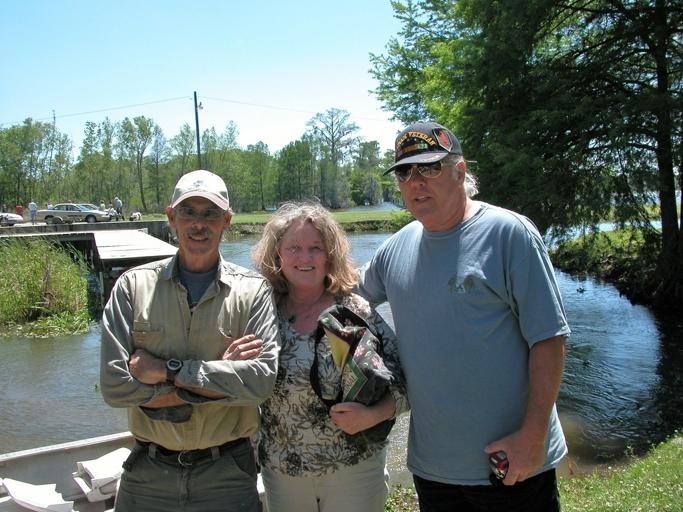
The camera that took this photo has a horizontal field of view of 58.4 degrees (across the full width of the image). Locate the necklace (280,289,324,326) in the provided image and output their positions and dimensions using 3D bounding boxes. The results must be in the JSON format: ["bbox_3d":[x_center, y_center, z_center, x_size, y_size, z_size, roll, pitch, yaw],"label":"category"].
[{"bbox_3d":[-0.306,0.405,4.942,0.247,0.243,0.343,-1,9,1],"label":"necklace"}]

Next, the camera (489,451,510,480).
[{"bbox_3d":[1.106,1.460,4.270,0.130,0.182,0.055,3,9,18],"label":"camera"}]

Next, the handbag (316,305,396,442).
[{"bbox_3d":[0.107,0.920,4.604,0.324,0.915,0.845,-8,12,0],"label":"handbag"}]
